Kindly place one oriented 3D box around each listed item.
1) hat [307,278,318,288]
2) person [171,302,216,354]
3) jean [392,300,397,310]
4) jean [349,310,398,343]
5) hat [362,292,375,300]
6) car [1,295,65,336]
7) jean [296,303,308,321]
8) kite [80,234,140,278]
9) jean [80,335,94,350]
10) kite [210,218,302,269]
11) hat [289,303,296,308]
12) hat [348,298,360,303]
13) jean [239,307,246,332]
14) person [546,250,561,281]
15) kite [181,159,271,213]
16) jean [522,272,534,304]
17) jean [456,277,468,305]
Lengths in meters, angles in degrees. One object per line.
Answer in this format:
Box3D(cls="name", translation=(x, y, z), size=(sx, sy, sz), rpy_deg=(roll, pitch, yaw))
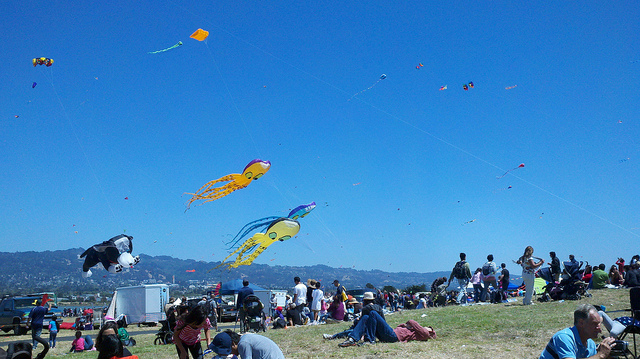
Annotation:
Box3D(cls="hat", translation=(-0.426, 5.635, 28.973), size=(0.454, 0.448, 0.937), rpy_deg=(4, 0, -4))
Box3D(cls="person", translation=(-4.747, 5.575, 19.813), size=(1.313, 1.937, 0.715), rpy_deg=(4, 0, -15))
Box3D(cls="jean", translation=(4.982, 8.186, 34.972), size=(0.281, 0.586, 0.918), rpy_deg=(4, 0, 11))
Box3D(cls="jean", translation=(2.095, 6.176, 22.156), size=(2.562, 1.330, 1.273), rpy_deg=(8, -13, -17))
Box3D(cls="hat", translation=(2.103, 4.972, 22.705), size=(0.403, 0.336, 0.446), rpy_deg=(4, 0, -2))
Box3D(cls="car", translation=(-18.653, 8.753, 33.206), size=(5.601, 2.260, 3.144), rpy_deg=(-15, -18, 38))
Box3D(cls="jean", translation=(-0.932, 7.015, 28.218), size=(0.799, 0.777, 0.574), rpy_deg=(2, 2, -6))
Box3D(cls="kite", translation=(-13.075, 4.739, 33.102), size=(2.375, 2.715, 2.505), rpy_deg=(4, 0, -40))
Box3D(cls="jean", translation=(-11.041, 7.710, 25.271), size=(0.376, 0.666, 0.559), rpy_deg=(4, 0, -24))
Box3D(cls="kite", translation=(-3.612, 3.302, 29.559), size=(6.607, 1.840, 1.661), rpy_deg=(-22, -1, 34))
Box3D(cls="hat", translation=(-1.436, 6.582, 27.798), size=(0.198, 0.265, 0.077), rpy_deg=(2, -13, -10))
Box3D(cls="hat", translation=(1.782, 6.272, 27.490), size=(0.498, 0.141, 0.475), rpy_deg=(1, -21, -1))
Box3D(cls="jean", translation=(-3.775, 6.750, 25.668), size=(0.321, 1.215, 0.623), rpy_deg=(4, 0, -10))
Box3D(cls="person", translation=(11.994, 4.447, 26.978), size=(0.593, 1.492, 0.244), rpy_deg=(4, 0, -8))
Box3D(cls="kite", translation=(-3.162, -0.021, 20.408), size=(2.896, 0.564, 1.014), rpy_deg=(-21, 31, -8))
Box3D(cls="jean", translation=(9.949, 5.160, 25.340), size=(0.491, 1.538, 1.226), rpy_deg=(4, 0, 24))
Box3D(cls="jean", translation=(7.619, 5.891, 28.320), size=(0.490, 1.410, 1.333), rpy_deg=(4, 0, 16))
